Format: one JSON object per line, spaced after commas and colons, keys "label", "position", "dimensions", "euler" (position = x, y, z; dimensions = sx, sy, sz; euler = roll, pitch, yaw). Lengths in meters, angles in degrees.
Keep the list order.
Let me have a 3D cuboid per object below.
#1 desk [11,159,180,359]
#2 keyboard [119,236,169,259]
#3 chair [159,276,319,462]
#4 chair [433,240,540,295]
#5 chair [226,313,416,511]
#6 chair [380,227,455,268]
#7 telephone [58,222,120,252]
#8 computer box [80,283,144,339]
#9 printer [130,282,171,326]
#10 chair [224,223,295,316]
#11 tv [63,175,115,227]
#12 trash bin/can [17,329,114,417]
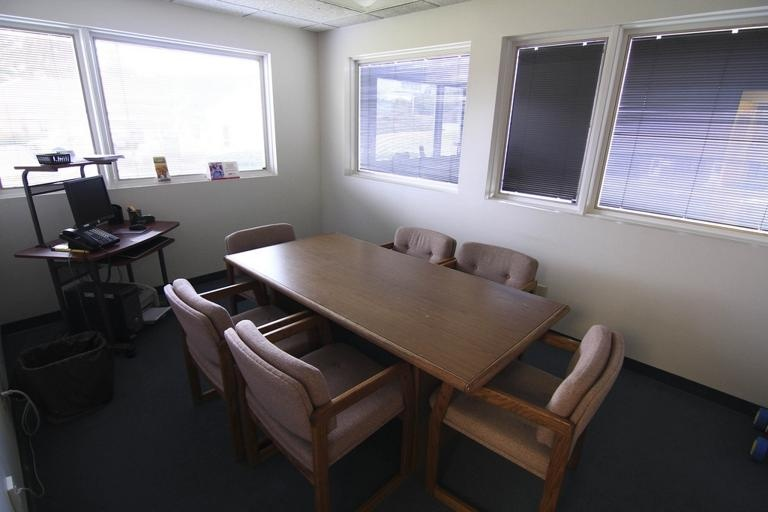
{"label": "desk", "position": [-2.818, -0.042, 5.071], "dimensions": [1.001, 1.441, 1.140], "euler": [-3, 19, 20]}
{"label": "keyboard", "position": [-2.449, -0.094, 5.152], "dimensions": [0.278, 0.061, 0.245], "euler": [-7, 17, -1]}
{"label": "chair", "position": [-1.094, 0.889, 3.884], "dimensions": [0.949, 1.175, 0.929], "euler": [-20, 33, -37]}
{"label": "chair", "position": [0.977, 0.084, 4.573], "dimensions": [0.695, 0.518, 0.516], "euler": [21, 30, 37]}
{"label": "chair", "position": [-0.452, 1.112, 3.760], "dimensions": [1.013, 1.359, 0.966], "euler": [-17, 26, -41]}
{"label": "chair", "position": [0.375, -0.094, 4.985], "dimensions": [0.627, 0.434, 0.425], "euler": [22, 37, 37]}
{"label": "telephone", "position": [-2.759, -0.181, 4.763], "dimensions": [0.387, 0.187, 0.347], "euler": [9, 20, 24]}
{"label": "computer box", "position": [-2.741, 0.491, 5.116], "dimensions": [0.608, 0.534, 0.334], "euler": [-1, 9, 23]}
{"label": "printer", "position": [-2.463, 0.494, 5.331], "dimensions": [0.449, 0.127, 0.331], "euler": [16, 20, 31]}
{"label": "chair", "position": [-1.135, 0.129, 4.677], "dimensions": [0.681, 0.878, 0.573], "euler": [-17, 27, -36]}
{"label": "tv", "position": [-2.904, -0.524, 4.945], "dimensions": [0.164, 0.463, 0.488], "euler": [3, 17, 21]}
{"label": "trash bin/can", "position": [-2.643, 0.991, 4.225], "dimensions": [0.587, 0.448, 0.318], "euler": [-16, 23, -41]}
